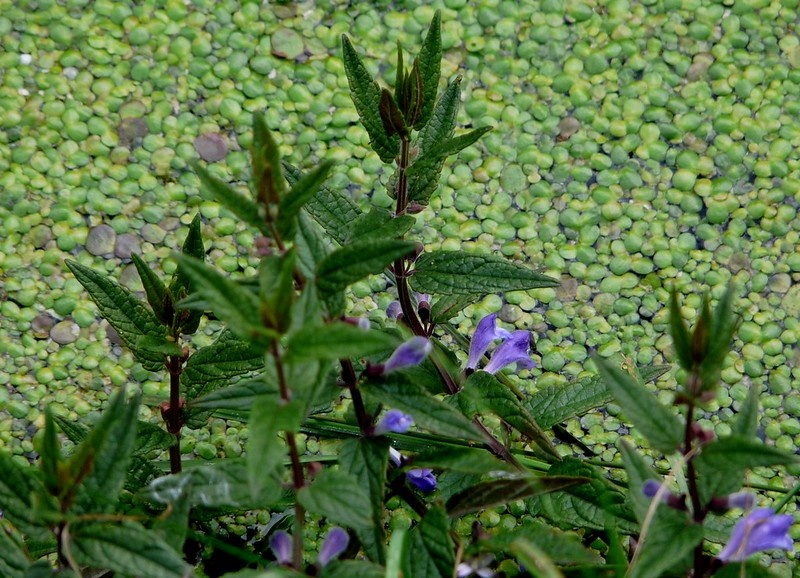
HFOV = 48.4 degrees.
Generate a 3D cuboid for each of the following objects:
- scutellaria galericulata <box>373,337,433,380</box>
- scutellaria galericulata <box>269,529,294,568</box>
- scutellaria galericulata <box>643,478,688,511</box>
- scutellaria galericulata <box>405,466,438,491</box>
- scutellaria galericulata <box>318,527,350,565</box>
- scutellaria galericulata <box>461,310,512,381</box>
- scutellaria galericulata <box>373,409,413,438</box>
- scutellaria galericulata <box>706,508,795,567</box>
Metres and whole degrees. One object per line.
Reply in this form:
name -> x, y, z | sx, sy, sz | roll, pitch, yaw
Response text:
scutellaria galericulata -> 0.011, 0.140, 1.798 | 0.033, 0.165, 0.050 | -13, 80, -35
scutellaria galericulata -> -0.235, 0.515, 1.763 | 0.043, 0.079, 0.048 | 0, 32, -5
scutellaria galericulata -> 0.522, 0.403, 1.746 | 0.119, 0.032, 0.042 | 29, 65, -36
scutellaria galericulata -> 0.057, 0.458, 2.181 | 0.076, 0.057, 0.033 | 32, 30, -13
scutellaria galericulata -> -0.139, 0.513, 1.780 | 0.041, 0.115, 0.019 | 36, 44, 4
scutellaria galericulata -> 0.207, 0.142, 2.180 | 0.089, 0.043, 0.161 | 22, 63, 30
scutellaria galericulata -> -0.015, 0.287, 1.891 | 0.060, 0.106, 0.059 | 29, 74, -14
scutellaria galericulata -> 0.688, 0.485, 1.722 | 0.129, 0.132, 0.044 | -1, 32, -7
